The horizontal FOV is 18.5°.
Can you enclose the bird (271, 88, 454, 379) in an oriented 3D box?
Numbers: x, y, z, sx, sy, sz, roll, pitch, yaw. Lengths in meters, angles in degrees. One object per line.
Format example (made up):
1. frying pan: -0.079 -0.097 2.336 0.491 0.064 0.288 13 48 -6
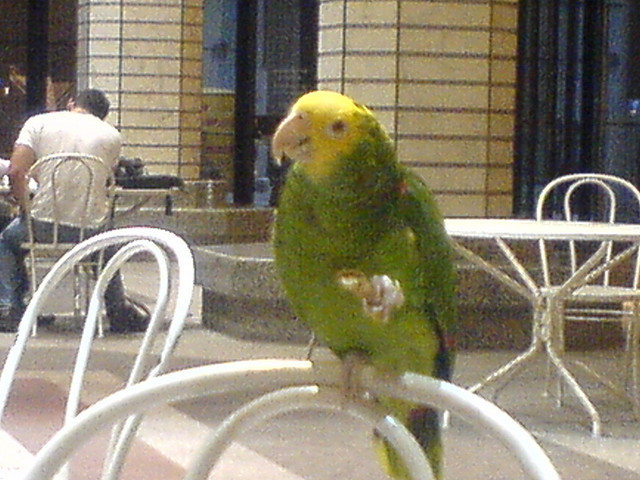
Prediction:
1. bird: 0.276 -0.141 10.579 0.692 1.751 0.847 0 13 5
